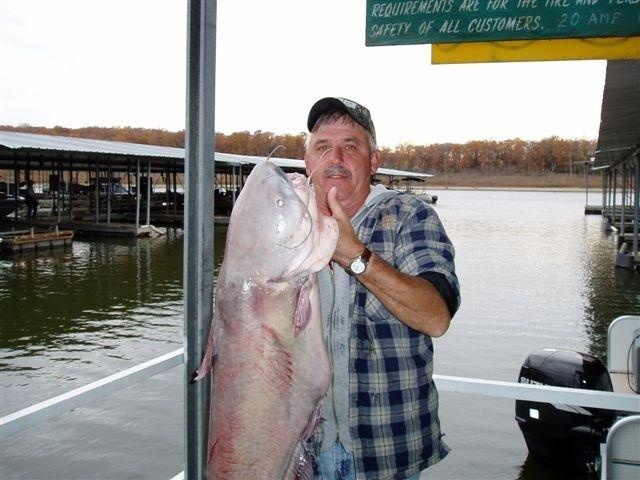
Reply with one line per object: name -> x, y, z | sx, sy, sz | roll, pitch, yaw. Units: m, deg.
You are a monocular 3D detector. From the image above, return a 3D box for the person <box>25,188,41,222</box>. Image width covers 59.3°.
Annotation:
person -> -12.068, -1.517, 23.450 | 0.440, 1.377, 2.912 | -4, 6, -27
